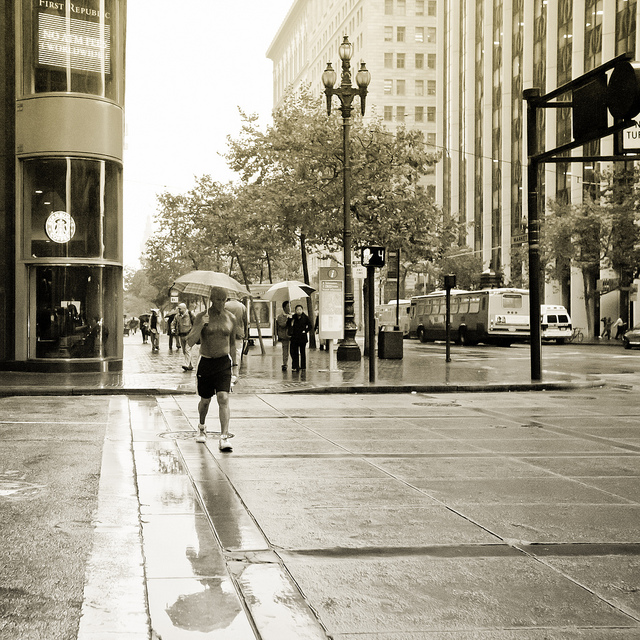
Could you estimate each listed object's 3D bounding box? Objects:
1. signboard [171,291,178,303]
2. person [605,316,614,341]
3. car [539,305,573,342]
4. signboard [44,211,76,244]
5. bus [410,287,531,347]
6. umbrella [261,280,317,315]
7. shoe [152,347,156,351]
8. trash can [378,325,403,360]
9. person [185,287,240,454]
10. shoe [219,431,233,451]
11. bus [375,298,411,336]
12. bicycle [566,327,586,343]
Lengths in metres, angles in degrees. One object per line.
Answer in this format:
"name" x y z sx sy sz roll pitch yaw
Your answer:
"signboard" -6.828 -1.208 46.348 0.361 0.807 0.749 -1 6 -9
"person" 15.494 0.433 52.630 0.234 1.359 1.019 1 -3 14
"car" 10.367 0.152 43.253 1.431 1.488 2.605 0 3 -1
"signboard" -5.891 -2.121 22.176 0.602 0.838 0.106 1 -6 -17
"bus" 7.119 -0.228 47.513 2.292 2.461 8.450 1 0 -17
"umbrella" -0.849 -0.868 27.999 1.027 1.040 1.063 0 7 24
"shoe" -6.628 1.108 39.359 0.088 0.121 0.097 0 2 -11
"trash can" 2.054 0.644 28.817 0.841 1.429 0.942 0 -1 1
"person" -1.165 0.497 10.748 0.560 1.801 1.265 -1 0 -6
"shoe" -0.980 1.261 10.284 0.137 0.193 0.351 -1 0 -6
"bus" 4.852 -0.507 63.710 1.595 2.129 5.341 0 -2 -13
"bicycle" 12.975 0.704 49.915 0.568 0.643 0.938 2 -6 -29
